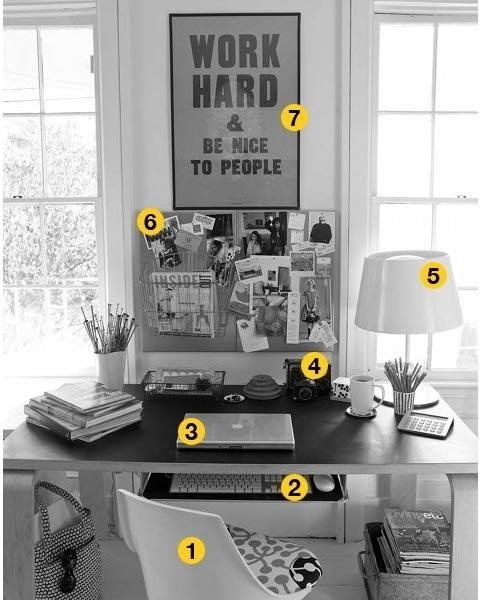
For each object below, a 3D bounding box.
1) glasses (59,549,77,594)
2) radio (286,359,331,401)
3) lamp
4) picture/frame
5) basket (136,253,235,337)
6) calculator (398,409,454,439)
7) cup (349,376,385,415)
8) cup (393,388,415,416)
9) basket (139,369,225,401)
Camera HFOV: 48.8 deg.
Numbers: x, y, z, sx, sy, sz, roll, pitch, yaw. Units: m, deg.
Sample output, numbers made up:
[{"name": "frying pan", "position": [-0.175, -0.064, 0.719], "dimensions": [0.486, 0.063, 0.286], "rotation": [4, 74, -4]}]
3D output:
[{"name": "glasses", "position": [-0.558, 0.888, 1.733], "dimensions": [0.056, 0.134, 0.050], "rotation": [3, -11, -11]}, {"name": "radio", "position": [0.256, 0.290, 2.030], "dimensions": [0.126, 0.150, 0.089], "rotation": [1, 6, 8]}, {"name": "lamp", "position": [0.598, 0.046, 1.926], "dimensions": [0.219, 0.390, 0.275], "rotation": [1, 14, -10]}, {"name": "picture/frame", "position": [-0.015, -0.755, 2.139], "dimensions": [0.513, 0.761, 0.031], "rotation": [-1, 9, 0]}, {"name": "basket", "position": [-0.240, -0.006, 2.216], "dimensions": [0.297, 0.342, 0.324], "rotation": [1, 1, 0]}, {"name": "calculator", "position": [0.602, 0.377, 1.720], "dimensions": [0.165, 0.045, 0.166], "rotation": [6, 12, 16]}, {"name": "cup", "position": [0.447, 0.338, 1.838], "dimensions": [0.105, 0.116, 0.070], "rotation": [0, -4, 30]}, {"name": "cup", "position": [0.571, 0.357, 1.852], "dimensions": [0.065, 0.083, 0.078], "rotation": [1, -1, 1]}, {"name": "basket", "position": [-0.223, 0.299, 2.107], "dimensions": [0.244, 0.095, 0.179], "rotation": [0, 14, 0]}]
